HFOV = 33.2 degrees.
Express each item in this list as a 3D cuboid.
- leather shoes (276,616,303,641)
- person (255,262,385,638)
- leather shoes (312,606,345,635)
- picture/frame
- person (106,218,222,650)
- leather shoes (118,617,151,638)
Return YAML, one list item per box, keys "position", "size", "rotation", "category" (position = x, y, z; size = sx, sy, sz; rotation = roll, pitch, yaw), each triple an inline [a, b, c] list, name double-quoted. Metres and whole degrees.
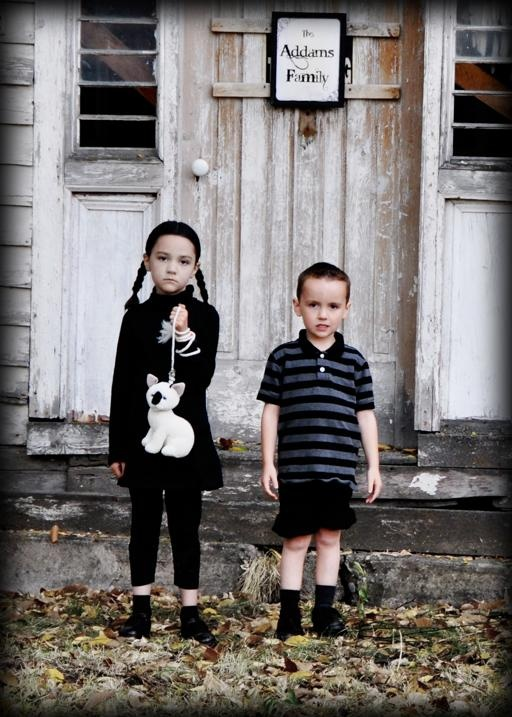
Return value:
- position: [0.128, 1.028, 3.317]
  size: [0.087, 0.136, 0.107]
  rotation: [0, -7, -9]
  category: "leather shoes"
- position: [0.238, 0.354, 3.280]
  size: [0.480, 0.949, 0.293]
  rotation: [4, 2, 0]
  category: "person"
- position: [0.274, 1.013, 3.284]
  size: [0.095, 0.131, 0.135]
  rotation: [2, -15, -9]
  category: "leather shoes"
- position: [0.268, -1.534, 4.368]
  size: [0.517, 0.561, 0.045]
  rotation: [1, -2, 0]
  category: "picture/frame"
- position: [-0.332, 0.273, 3.211]
  size: [0.425, 1.581, 0.343]
  rotation: [3, 2, -10]
  category: "person"
- position: [-0.446, 1.003, 3.181]
  size: [0.059, 0.055, 0.135]
  rotation: [1, -16, 22]
  category: "leather shoes"
